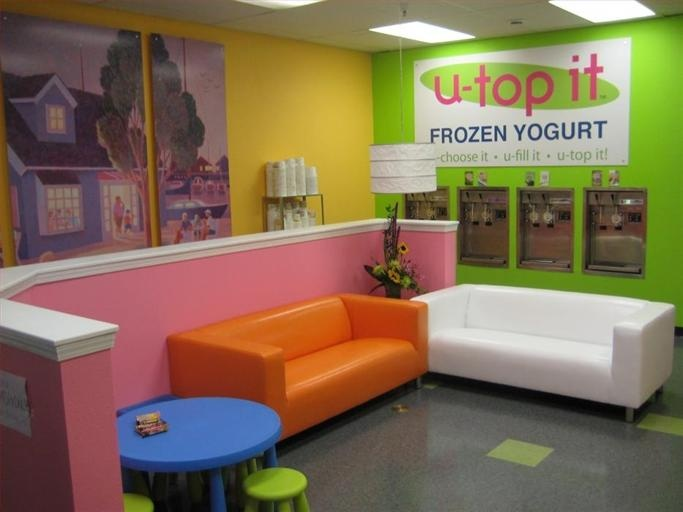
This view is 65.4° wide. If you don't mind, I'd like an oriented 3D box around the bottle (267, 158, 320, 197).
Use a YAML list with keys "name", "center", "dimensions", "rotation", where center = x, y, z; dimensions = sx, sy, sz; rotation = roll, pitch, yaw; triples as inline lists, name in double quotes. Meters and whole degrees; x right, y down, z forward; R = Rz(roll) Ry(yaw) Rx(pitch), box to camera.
- name: "bottle"
  center: [-0.616, -0.976, 6.558]
  dimensions: [0.639, 0.463, 0.335]
  rotation: [-3, 9, -8]

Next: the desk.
- name: "desk"
  center: [-0.734, 0.991, 2.978]
  dimensions: [0.678, 0.263, 0.709]
  rotation: [4, 6, 32]

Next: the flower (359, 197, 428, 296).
- name: "flower"
  center: [0.526, -0.027, 5.478]
  dimensions: [0.629, 1.002, 0.638]
  rotation: [3, 10, 26]
